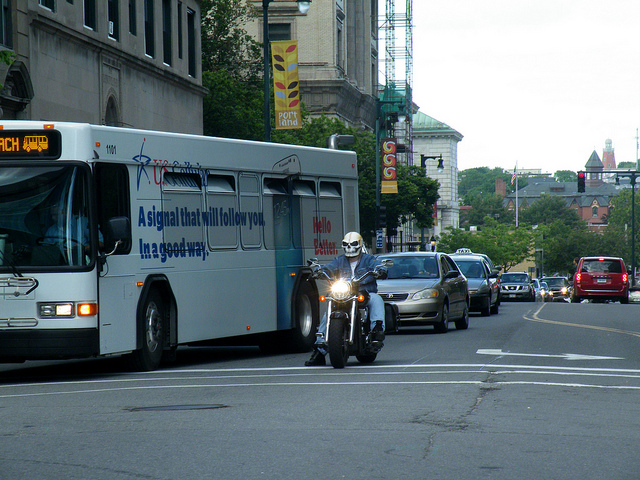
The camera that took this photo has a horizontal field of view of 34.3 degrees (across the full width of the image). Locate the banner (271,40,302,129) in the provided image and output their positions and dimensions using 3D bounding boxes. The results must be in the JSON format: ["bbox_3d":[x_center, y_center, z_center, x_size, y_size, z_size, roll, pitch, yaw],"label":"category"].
[{"bbox_3d":[-0.969,-4.454,29.705,0.891,2.757,0.111,-1,33,1],"label":"banner"}]

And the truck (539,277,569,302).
[{"bbox_3d":[14.699,3.086,64.456,1.054,1.018,2.460,-1,-10,9],"label":"truck"}]

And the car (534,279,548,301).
[{"bbox_3d":[13.140,3.108,62.011,0.724,1.135,2.890,-1,0,12],"label":"car"}]

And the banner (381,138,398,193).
[{"bbox_3d":[3.627,-3.815,54.821,1.009,3.171,0.312,0,-4,-4],"label":"banner"}]

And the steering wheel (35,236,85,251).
[{"bbox_3d":[-3.556,0.058,14.199,0.648,0.200,0.102,-1,0,9],"label":"steering wheel"}]

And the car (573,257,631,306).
[{"bbox_3d":[12.087,1.728,44.693,1.953,2.164,2.836,1,-1,20],"label":"car"}]

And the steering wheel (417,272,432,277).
[{"bbox_3d":[2.313,0.772,22.978,0.349,0.068,0.120,-2,-1,32],"label":"steering wheel"}]
